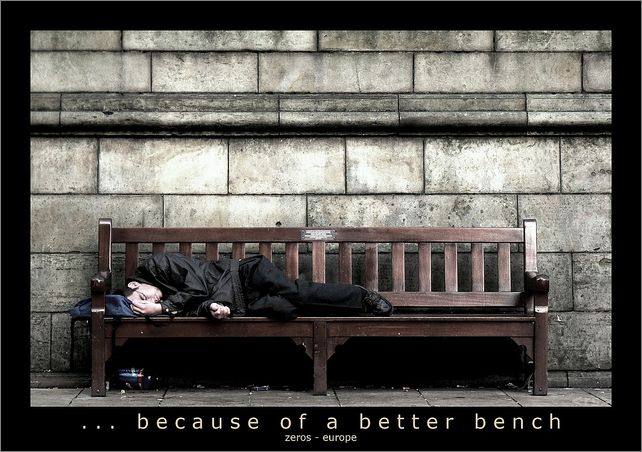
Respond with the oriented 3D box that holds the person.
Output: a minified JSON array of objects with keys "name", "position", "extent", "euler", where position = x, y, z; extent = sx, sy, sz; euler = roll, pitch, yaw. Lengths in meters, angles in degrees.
[{"name":"person","position":[-0.755,0.766,11.210],"extent":[1.932,0.565,1.119],"euler":[0,-28,2]}]
